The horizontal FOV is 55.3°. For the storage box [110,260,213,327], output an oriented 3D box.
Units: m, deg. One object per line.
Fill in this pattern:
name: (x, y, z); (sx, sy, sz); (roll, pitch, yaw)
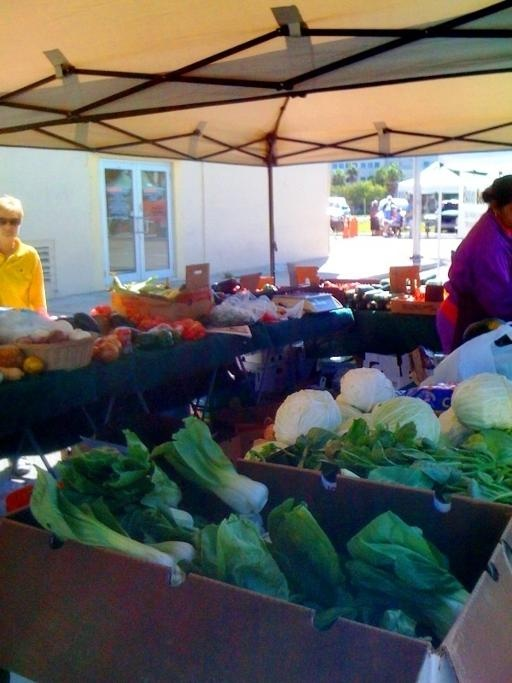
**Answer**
storage box: (-0.886, -0.460, 4.574); (0.966, 0.488, 0.711); (9, 17, 33)

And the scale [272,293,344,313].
scale: (0.548, -0.398, 5.192); (0.753, 0.183, 0.527); (-2, 8, 4)

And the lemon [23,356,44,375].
lemon: (-1.307, 0.133, 2.883); (0.107, 0.087, 0.103); (-1, 6, 42)

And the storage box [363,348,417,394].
storage box: (1.158, 0.227, 4.077); (0.346, 0.256, 0.353); (15, 23, 37)
